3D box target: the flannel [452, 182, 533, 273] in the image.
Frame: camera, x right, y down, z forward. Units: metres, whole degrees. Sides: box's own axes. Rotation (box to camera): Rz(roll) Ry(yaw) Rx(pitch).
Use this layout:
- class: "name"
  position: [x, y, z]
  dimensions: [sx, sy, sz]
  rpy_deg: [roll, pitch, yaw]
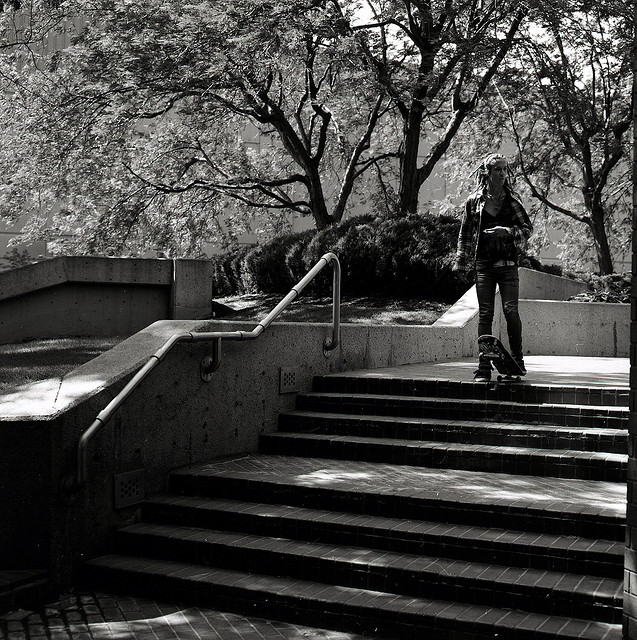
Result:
- class: "flannel"
  position: [1.767, -0.976, 8.659]
  dimensions: [0.904, 1.503, 0.717]
  rpy_deg: [3, 3, 18]

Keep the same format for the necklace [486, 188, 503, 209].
- class: "necklace"
  position: [1.775, -1.219, 8.364]
  dimensions: [0.132, 0.176, 0.040]
  rpy_deg: [-2, -12, -1]

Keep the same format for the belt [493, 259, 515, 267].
- class: "belt"
  position: [1.874, -0.574, 8.411]
  dimensions: [0.206, 0.110, 0.072]
  rpy_deg: [-2, 4, 9]

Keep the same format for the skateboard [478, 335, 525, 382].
- class: "skateboard"
  position: [1.732, 0.372, 7.963]
  dimensions: [0.196, 0.141, 0.807]
  rpy_deg: [-3, -45, 32]
